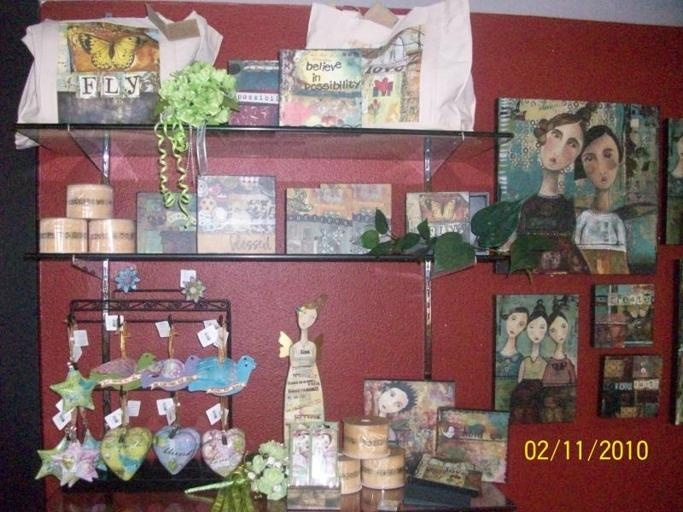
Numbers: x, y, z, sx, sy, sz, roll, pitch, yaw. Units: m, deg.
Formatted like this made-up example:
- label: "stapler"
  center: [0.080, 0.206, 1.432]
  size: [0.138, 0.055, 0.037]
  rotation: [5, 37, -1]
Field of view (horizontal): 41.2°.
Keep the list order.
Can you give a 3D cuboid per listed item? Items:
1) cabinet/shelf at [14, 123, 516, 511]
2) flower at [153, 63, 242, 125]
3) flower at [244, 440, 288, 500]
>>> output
- label: "cabinet/shelf"
  center: [-0.370, 0.239, 3.387]
  size: [1.496, 1.289, 0.493]
  rotation: [0, 0, -6]
- label: "flower"
  center: [-0.509, -0.557, 3.159]
  size: [0.233, 0.146, 0.238]
  rotation: [-2, 14, 2]
- label: "flower"
  center: [-0.271, 0.765, 3.251]
  size: [0.168, 0.183, 0.100]
  rotation: [-6, -13, -20]
